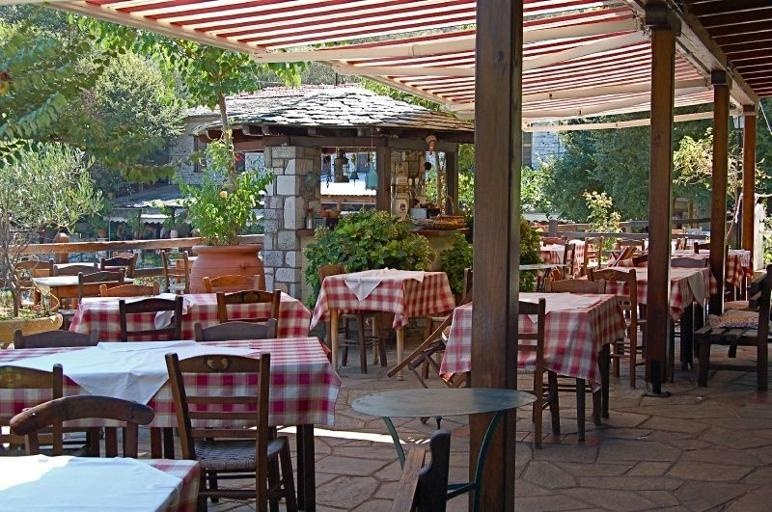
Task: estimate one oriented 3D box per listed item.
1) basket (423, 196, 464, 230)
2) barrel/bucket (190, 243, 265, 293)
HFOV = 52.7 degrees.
[{"bbox_3d":[0.861,-0.638,11.755,0.476,0.255,0.704,0,-3,6],"label":"basket"},{"bbox_3d":[-2.211,0.085,10.809,0.876,0.815,0.891,0,1,0],"label":"barrel/bucket"}]
